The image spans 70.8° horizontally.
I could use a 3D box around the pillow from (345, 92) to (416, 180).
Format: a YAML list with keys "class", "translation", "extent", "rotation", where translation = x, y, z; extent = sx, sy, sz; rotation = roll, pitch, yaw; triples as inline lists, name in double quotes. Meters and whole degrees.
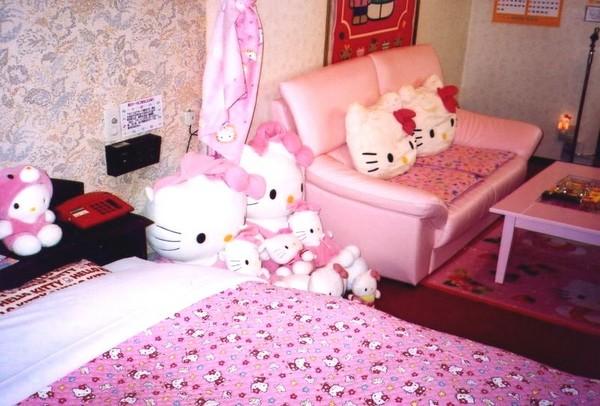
- class: "pillow"
  translation: [0.602, -0.505, 3.253]
  extent: [0.303, 0.556, 0.531]
  rotation: [18, 34, 41]

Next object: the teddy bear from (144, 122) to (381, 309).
- class: "teddy bear"
  translation: [-0.249, 0.091, 2.541]
  extent: [0.555, 0.960, 0.794]
  rotation: [22, 43, 35]
